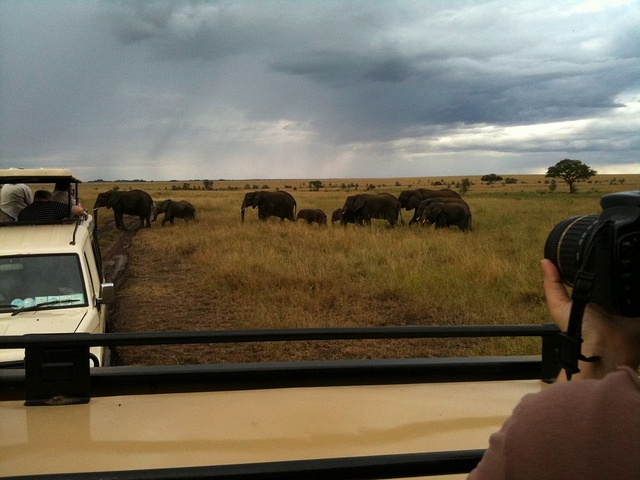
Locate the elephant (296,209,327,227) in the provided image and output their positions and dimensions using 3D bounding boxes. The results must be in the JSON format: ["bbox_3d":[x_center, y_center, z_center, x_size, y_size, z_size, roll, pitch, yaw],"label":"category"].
[{"bbox_3d":[-0.464,-1.096,24.669,1.474,0.884,0.662,8,-10,14],"label":"elephant"}]

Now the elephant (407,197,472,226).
[{"bbox_3d":[4.774,-1.141,21.205,2.310,1.462,1.080,1,4,17],"label":"elephant"}]

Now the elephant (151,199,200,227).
[{"bbox_3d":[-6.012,-1.126,21.773,1.388,0.919,1.994,-8,11,-33],"label":"elephant"}]

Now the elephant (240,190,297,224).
[{"bbox_3d":[-2.515,-1.498,25.296,2.699,1.652,0.907,1,4,-2],"label":"elephant"}]

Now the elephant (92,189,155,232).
[{"bbox_3d":[-7.610,-1.193,20.360,2.189,1.654,1.012,-3,12,-17],"label":"elephant"}]

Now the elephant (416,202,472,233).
[{"bbox_3d":[4.873,-0.833,21.092,2.159,1.285,0.955,0,6,13],"label":"elephant"}]

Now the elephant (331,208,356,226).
[{"bbox_3d":[0.952,-1.022,24.138,1.150,0.721,0.559,5,14,15],"label":"elephant"}]

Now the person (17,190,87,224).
[{"bbox_3d":[-3.173,-0.357,6.092,0.912,0.426,0.494,-4,-9,-27],"label":"person"}]

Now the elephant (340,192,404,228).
[{"bbox_3d":[2.191,-1.361,23.579,2.598,1.369,1.706,-3,9,-6],"label":"elephant"}]
